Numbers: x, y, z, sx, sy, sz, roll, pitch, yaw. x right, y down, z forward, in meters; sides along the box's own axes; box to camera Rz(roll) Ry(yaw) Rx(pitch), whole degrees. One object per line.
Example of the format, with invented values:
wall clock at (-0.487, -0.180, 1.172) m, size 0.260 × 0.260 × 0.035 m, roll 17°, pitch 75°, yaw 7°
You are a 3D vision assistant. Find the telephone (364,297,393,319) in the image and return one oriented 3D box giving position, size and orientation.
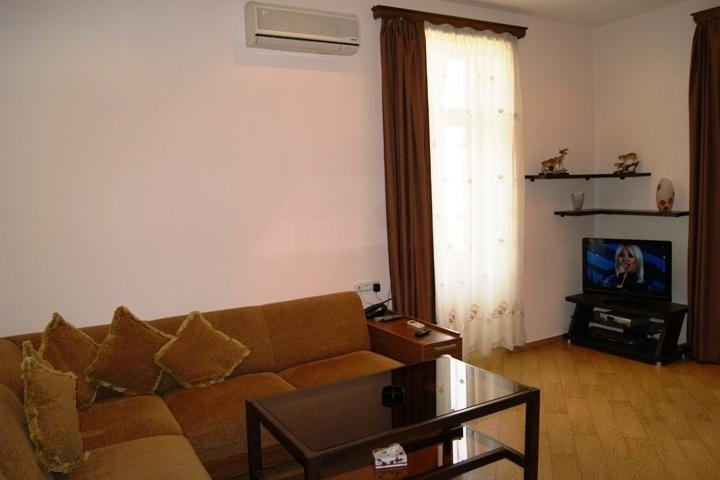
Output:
telephone at (0.158, 0.644, 4.976) m, size 0.189 × 0.070 × 0.133 m, roll -23°, pitch 13°, yaw -23°

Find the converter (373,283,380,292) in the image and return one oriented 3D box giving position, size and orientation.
converter at (0.164, 0.464, 5.153) m, size 0.066 × 0.074 × 0.068 m, roll 2°, pitch 2°, yaw 43°

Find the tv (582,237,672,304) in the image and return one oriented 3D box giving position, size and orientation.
tv at (2.990, 0.344, 5.862) m, size 0.711 × 0.532 × 0.080 m, roll 1°, pitch 1°, yaw 40°

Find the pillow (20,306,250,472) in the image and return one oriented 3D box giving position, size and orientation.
pillow at (-1.733, 1.099, 4.118) m, size 1.332 × 0.583 × 0.955 m, roll -12°, pitch 54°, yaw -30°

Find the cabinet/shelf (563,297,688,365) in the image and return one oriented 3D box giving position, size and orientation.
cabinet/shelf at (2.935, 0.954, 5.890) m, size 1.100 × 0.591 × 0.519 m, roll 11°, pitch 19°, yaw 44°

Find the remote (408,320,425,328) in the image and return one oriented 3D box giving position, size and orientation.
remote at (0.492, 0.747, 4.682) m, size 0.061 × 0.022 × 0.103 m, roll -4°, pitch 8°, yaw -32°
